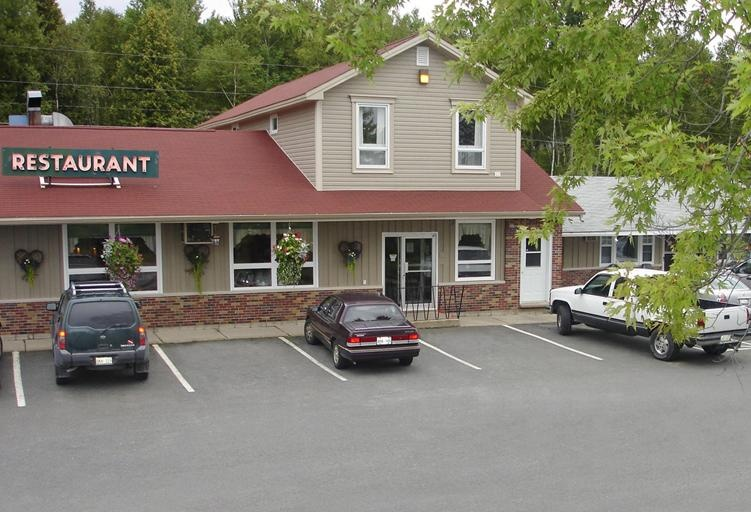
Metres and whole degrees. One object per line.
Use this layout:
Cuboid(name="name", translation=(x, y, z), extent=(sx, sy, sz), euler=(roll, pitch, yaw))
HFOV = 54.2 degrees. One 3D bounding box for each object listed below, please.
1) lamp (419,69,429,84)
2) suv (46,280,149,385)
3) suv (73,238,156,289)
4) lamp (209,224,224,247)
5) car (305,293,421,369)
Cuboid(name="lamp", translation=(1.874, -7.034, 28.609), extent=(0.537, 0.672, 0.206), euler=(1, 1, -9))
Cuboid(name="suv", translation=(-8.352, 2.058, 21.994), extent=(2.515, 2.639, 5.087), euler=(-1, 7, -23))
Cuboid(name="suv", translation=(-8.683, 0.319, 24.790), extent=(2.726, 1.789, 1.284), euler=(0, -8, -8))
Cuboid(name="lamp", translation=(-5.664, -0.753, 26.238), extent=(0.346, 0.819, 0.515), euler=(0, 2, 13))
Cuboid(name="car", translation=(-0.570, 2.277, 22.443), extent=(1.922, 2.155, 3.665), euler=(-1, 2, -37))
